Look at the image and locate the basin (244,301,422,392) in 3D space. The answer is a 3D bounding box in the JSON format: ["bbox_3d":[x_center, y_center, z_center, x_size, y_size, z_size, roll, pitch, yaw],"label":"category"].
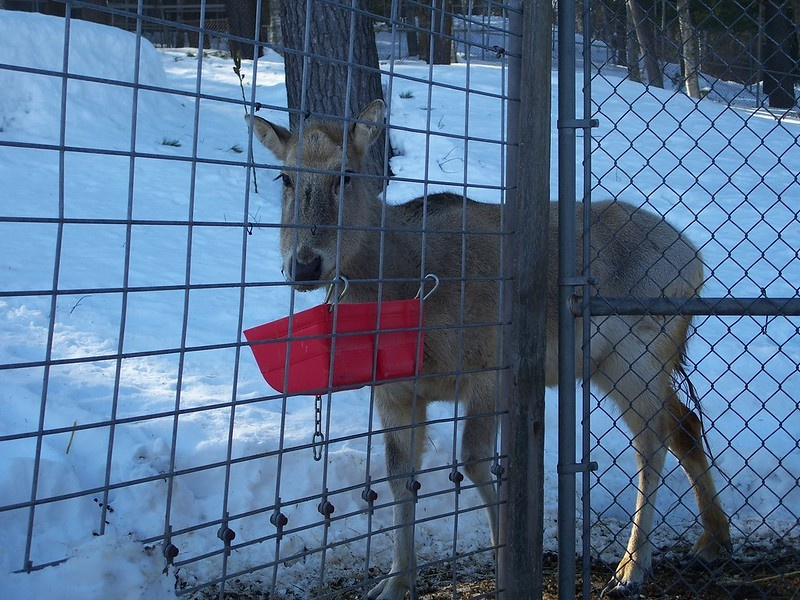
[{"bbox_3d":[-0.423,0.346,7.194,0.973,0.560,0.705,-10,-7,35],"label":"basin"}]
